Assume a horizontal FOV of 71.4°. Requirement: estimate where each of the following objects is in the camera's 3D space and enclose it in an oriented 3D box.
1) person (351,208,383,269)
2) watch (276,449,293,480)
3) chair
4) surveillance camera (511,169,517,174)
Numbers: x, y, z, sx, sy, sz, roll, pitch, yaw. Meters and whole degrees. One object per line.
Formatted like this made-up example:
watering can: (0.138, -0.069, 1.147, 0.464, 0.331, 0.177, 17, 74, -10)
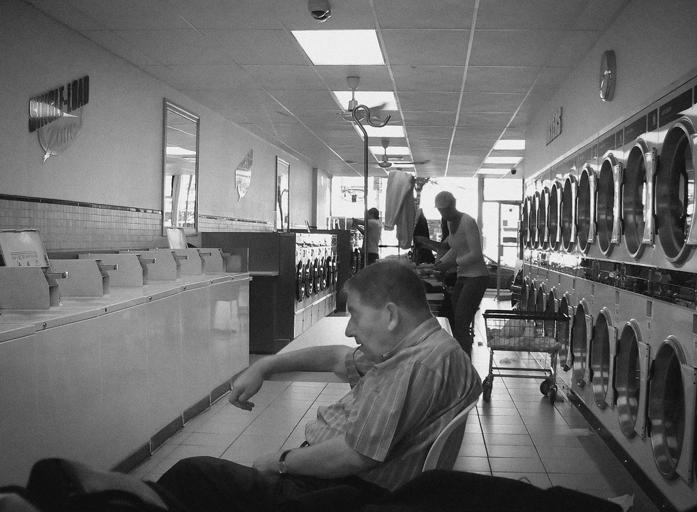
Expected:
person: (0.374, -0.350, 9.740, 0.534, 0.505, 1.617, -2, 19, 7)
watch: (-0.208, 0.654, 1.538, 0.048, 0.089, 0.087, -4, -30, 17)
chair: (0.291, 0.574, 1.587, 0.184, 0.262, 0.231, -4, -36, 31)
surveillance camera: (4.901, -2.485, 14.225, 0.119, 0.087, 0.120, 4, -42, 9)
